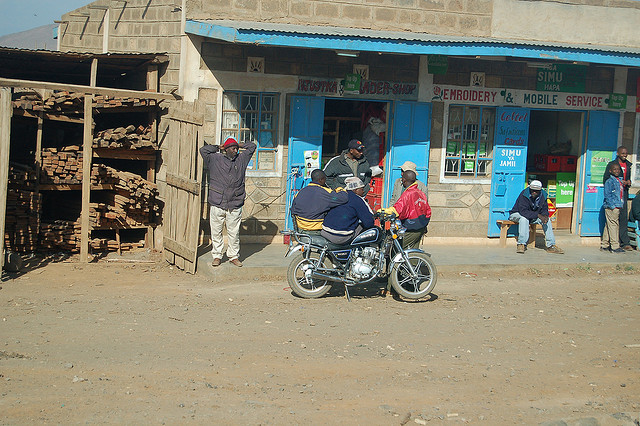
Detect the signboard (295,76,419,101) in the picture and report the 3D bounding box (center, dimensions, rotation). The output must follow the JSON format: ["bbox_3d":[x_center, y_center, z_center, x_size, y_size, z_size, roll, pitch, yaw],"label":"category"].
[{"bbox_3d":[0.903,-2.956,20.686,2.960,0.534,0.087,4,1,-14],"label":"signboard"}]

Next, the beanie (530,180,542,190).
[{"bbox_3d":[5.042,-0.672,20.688,0.254,0.217,0.234,4,1,15],"label":"beanie"}]

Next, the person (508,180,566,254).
[{"bbox_3d":[4.972,0.042,20.898,1.098,1.710,1.429,-2,4,-13],"label":"person"}]

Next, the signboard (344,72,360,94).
[{"bbox_3d":[0.758,-3.064,20.566,0.369,0.474,0.169,4,1,-3],"label":"signboard"}]

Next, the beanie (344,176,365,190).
[{"bbox_3d":[0.668,-0.600,17.359,0.280,0.157,0.225,-6,8,11],"label":"beanie"}]

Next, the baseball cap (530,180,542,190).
[{"bbox_3d":[5.050,-0.672,20.709,0.216,0.118,0.314,3,8,14],"label":"baseball cap"}]

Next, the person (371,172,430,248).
[{"bbox_3d":[1.703,-0.069,18.345,0.749,1.988,1.296,16,22,38],"label":"person"}]

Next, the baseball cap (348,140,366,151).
[{"bbox_3d":[0.790,-1.470,18.804,0.432,0.218,0.272,4,5,-13],"label":"baseball cap"}]

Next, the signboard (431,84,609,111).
[{"bbox_3d":[4.858,-2.845,21.531,4.455,0.618,0.116,4,1,-10],"label":"signboard"}]

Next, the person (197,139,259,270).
[{"bbox_3d":[-1.967,-0.197,18.487,1.020,2.513,0.385,4,1,-5],"label":"person"}]

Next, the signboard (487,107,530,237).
[{"bbox_3d":[4.608,-1.023,21.637,0.900,3.201,0.161,4,1,-12],"label":"signboard"}]

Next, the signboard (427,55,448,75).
[{"bbox_3d":[2.756,-3.542,20.780,0.479,0.435,0.343,4,1,-3],"label":"signboard"}]

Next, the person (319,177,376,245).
[{"bbox_3d":[0.703,0.099,17.536,1.061,1.787,0.954,-3,19,-20],"label":"person"}]

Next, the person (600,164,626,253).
[{"bbox_3d":[7.085,-0.121,21.247,0.550,2.229,0.548,4,1,18],"label":"person"}]

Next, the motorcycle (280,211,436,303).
[{"bbox_3d":[0.785,0.826,17.480,3.016,1.881,1.204,-1,-6,1],"label":"motorcycle"}]
